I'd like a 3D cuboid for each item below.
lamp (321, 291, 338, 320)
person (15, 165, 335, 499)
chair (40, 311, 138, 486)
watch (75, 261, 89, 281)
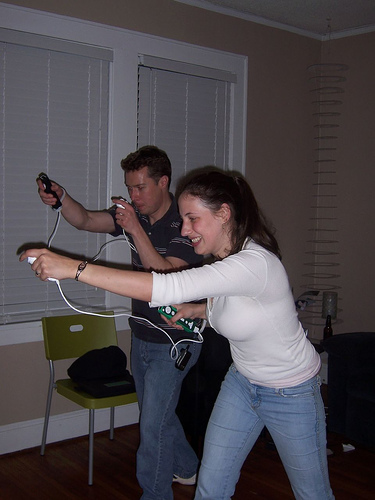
[{"bbox_3d":[1.009,0.388,3.180,0.102,0.193,0.177,6,6,16],"label":"lamp"},{"bbox_3d":[0.039,0.230,1.044,0.667,0.841,0.344,2,6,-20],"label":"person"},{"bbox_3d":[-0.461,0.719,2.335,0.513,0.651,0.474,9,6,39],"label":"chair"},{"bbox_3d":[-0.199,0.038,0.857,0.018,0.032,0.050,4,5,3],"label":"watch"}]
